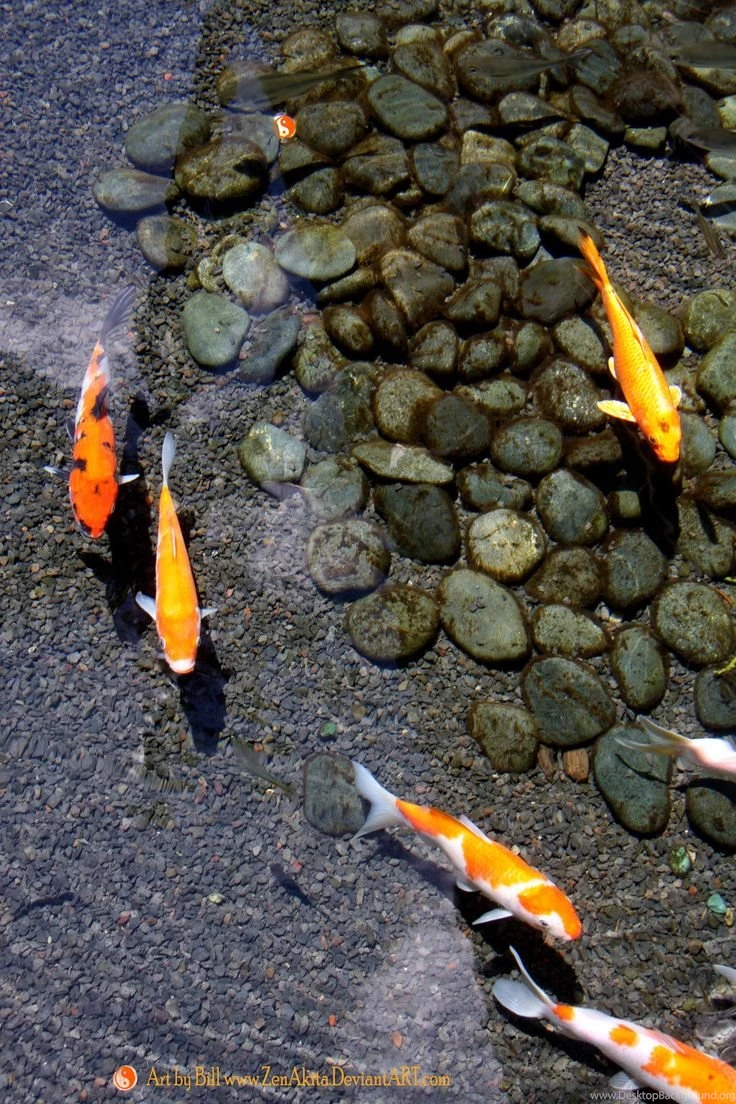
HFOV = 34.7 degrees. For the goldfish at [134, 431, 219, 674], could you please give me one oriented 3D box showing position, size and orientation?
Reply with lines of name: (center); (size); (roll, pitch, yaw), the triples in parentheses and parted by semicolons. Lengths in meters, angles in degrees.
goldfish: (-0.828, 0.033, 5.017); (0.360, 0.266, 1.048); (-5, 85, -7)
